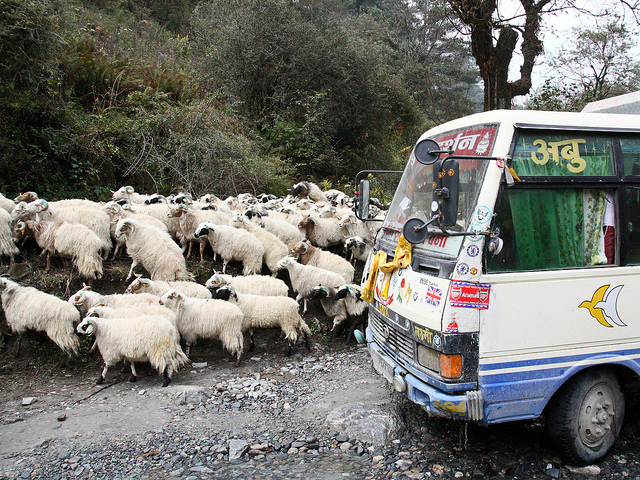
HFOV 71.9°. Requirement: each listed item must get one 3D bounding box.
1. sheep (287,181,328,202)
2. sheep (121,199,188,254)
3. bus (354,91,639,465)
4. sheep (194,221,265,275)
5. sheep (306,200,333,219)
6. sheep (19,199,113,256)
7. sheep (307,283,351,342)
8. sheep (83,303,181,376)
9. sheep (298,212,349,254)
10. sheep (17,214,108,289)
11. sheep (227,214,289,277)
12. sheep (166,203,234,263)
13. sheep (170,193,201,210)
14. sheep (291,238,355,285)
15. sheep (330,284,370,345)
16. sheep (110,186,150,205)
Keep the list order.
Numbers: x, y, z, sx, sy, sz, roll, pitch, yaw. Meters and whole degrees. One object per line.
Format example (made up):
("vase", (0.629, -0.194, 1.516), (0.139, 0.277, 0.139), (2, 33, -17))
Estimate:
("sheep", (-0.398, -1.637, 15.026), (1.041, 0.647, 0.597), (-3, 9, -15))
("sheep", (-4.095, -0.256, 10.415), (0.506, 0.896, 1.639), (28, 29, 20))
("bus", (3.110, 0.390, 7.179), (4.850, 3.612, 3.140), (1, 1, -16))
("sheep", (-2.016, 0.191, 9.980), (1.088, 0.760, 0.443), (7, 29, -6))
("sheep", (-0.126, -0.905, 13.034), (0.873, 0.487, 0.420), (-4, 5, -42))
("sheep", (-5.493, -0.038, 9.817), (2.157, 1.321, 0.731), (13, 18, 6))
("sheep", (0.309, 1.594, 9.438), (0.686, 1.144, 1.657), (-8, -10, 39))
("sheep", (-3.268, 1.891, 7.700), (1.861, 1.047, 0.528), (2, -1, 7))
("sheep", (0.181, -0.087, 11.692), (1.571, 1.189, 0.829), (-4, 9, -24))
("sheep", (-5.335, 0.167, 9.209), (2.037, 1.179, 0.719), (18, 18, 3))
("sheep", (-1.456, 0.187, 10.578), (1.835, 1.318, 0.674), (26, 13, 27))
("sheep", (-2.817, -0.161, 10.690), (0.716, 1.409, 1.844), (0, 4, 36))
("sheep", (-3.380, -0.956, 11.245), (0.353, 0.361, 0.693), (-4, -5, 31))
("sheep", (0.088, 0.388, 10.561), (1.622, 0.521, 0.982), (21, -5, -8))
("sheep", (0.732, 1.626, 9.248), (0.777, 1.167, 1.598), (-3, -12, 30))
("sheep", (-4.908, -1.155, 11.484), (0.557, 0.583, 1.091), (2, 8, 41))
